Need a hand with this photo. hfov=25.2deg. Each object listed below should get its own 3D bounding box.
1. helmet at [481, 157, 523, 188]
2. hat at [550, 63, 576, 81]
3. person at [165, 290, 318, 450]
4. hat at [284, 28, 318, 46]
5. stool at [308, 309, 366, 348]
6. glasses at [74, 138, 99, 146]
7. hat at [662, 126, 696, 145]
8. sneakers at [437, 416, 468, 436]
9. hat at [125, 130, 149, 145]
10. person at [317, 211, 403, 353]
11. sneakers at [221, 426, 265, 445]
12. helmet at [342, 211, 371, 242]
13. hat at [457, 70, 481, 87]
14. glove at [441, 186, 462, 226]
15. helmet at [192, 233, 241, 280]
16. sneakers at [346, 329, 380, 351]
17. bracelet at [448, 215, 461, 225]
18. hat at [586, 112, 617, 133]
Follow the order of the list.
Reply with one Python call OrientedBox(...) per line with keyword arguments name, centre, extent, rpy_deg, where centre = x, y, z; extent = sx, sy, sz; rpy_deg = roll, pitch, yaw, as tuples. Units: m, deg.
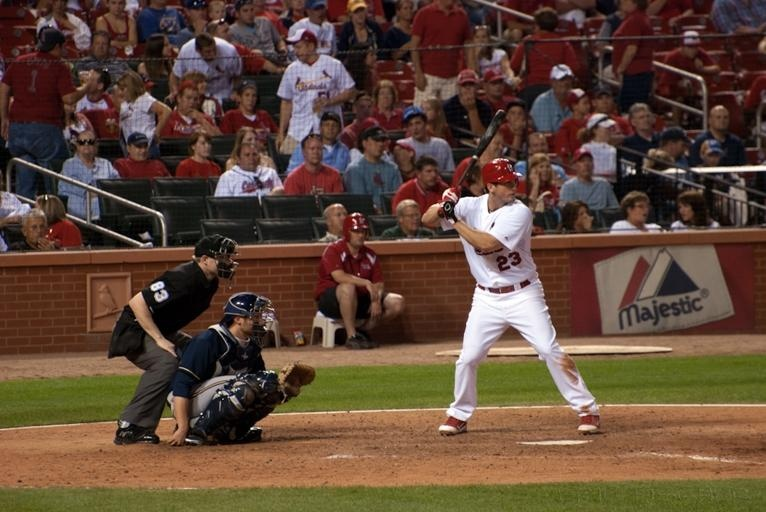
OrientedBox(name="helmet", centre=(1.516, -1.075, 22.022), extent=(0.430, 0.211, 0.310), rpy_deg=(-2, 8, 20))
OrientedBox(name="hat", centre=(2.883, -2.928, 27.516), extent=(0.368, 0.251, 0.118), rpy_deg=(0, 14, 7))
OrientedBox(name="person", centre=(-1.971, 1.487, 21.638), extent=(1.406, 1.931, 0.566), rpy_deg=(-3, 14, -8))
OrientedBox(name="hat", centre=(-1.352, -3.620, 28.528), extent=(0.446, 0.238, 0.265), rpy_deg=(2, 9, 3))
OrientedBox(name="stool", centre=(-0.794, 1.149, 27.078), extent=(0.565, 0.410, 0.546), rpy_deg=(-3, 6, -34))
OrientedBox(name="glasses", centre=(-4.743, -1.812, 27.523), extent=(0.295, 0.114, 0.113), rpy_deg=(-2, 14, -4))
OrientedBox(name="hat", centre=(4.844, -1.983, 28.076), extent=(0.475, 0.242, 0.296), rpy_deg=(7, 8, -1))
OrientedBox(name="sneakers", centre=(0.932, 2.212, 22.178), extent=(0.440, 0.176, 0.173), rpy_deg=(5, -4, -30))
OrientedBox(name="hat", centre=(-3.950, -1.896, 27.706), extent=(0.284, 0.157, 0.211), rpy_deg=(-11, -7, 40))
OrientedBox(name="person", centre=(-0.513, 0.400, 26.687), extent=(1.035, 2.027, 0.683), rpy_deg=(-2, 14, -3))
OrientedBox(name="sneakers", centre=(-1.786, 2.315, 22.008), extent=(0.518, 0.196, 0.174), rpy_deg=(1, 3, -32))
OrientedBox(name="helmet", centre=(-0.410, -0.466, 26.819), extent=(0.346, 0.361, 0.435), rpy_deg=(1, -3, -31))
OrientedBox(name="hat", centre=(1.406, -2.886, 28.022), extent=(0.236, 0.172, 0.313), rpy_deg=(-2, -6, 4))
OrientedBox(name="glove", centre=(0.873, -0.656, 22.121), extent=(0.259, 0.110, 0.408), rpy_deg=(22, 35, -27))
OrientedBox(name="helmet", centre=(-2.116, -0.006, 21.905), extent=(0.599, 0.557, 0.474), rpy_deg=(-5, 9, -7))
OrientedBox(name="sneakers", centre=(-0.316, 1.320, 26.725), extent=(0.475, 0.192, 0.258), rpy_deg=(-2, 12, -9))
OrientedBox(name="bracelet", centre=(0.919, -0.452, 22.061), extent=(0.104, 0.026, 0.100), rpy_deg=(-15, 46, -21))
OrientedBox(name="hat", centre=(3.531, -2.157, 27.635), extent=(0.420, 0.165, 0.258), rpy_deg=(3, 6, -2))
